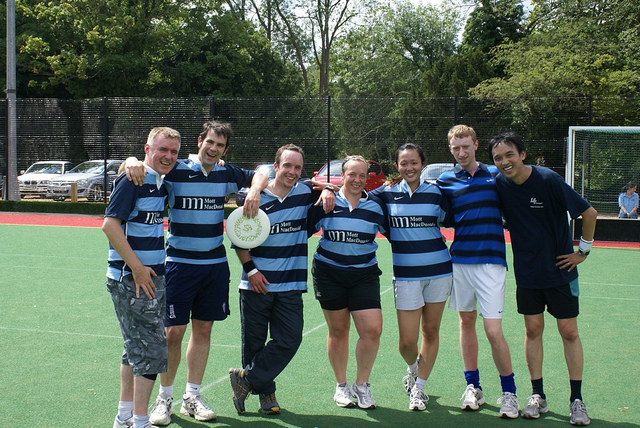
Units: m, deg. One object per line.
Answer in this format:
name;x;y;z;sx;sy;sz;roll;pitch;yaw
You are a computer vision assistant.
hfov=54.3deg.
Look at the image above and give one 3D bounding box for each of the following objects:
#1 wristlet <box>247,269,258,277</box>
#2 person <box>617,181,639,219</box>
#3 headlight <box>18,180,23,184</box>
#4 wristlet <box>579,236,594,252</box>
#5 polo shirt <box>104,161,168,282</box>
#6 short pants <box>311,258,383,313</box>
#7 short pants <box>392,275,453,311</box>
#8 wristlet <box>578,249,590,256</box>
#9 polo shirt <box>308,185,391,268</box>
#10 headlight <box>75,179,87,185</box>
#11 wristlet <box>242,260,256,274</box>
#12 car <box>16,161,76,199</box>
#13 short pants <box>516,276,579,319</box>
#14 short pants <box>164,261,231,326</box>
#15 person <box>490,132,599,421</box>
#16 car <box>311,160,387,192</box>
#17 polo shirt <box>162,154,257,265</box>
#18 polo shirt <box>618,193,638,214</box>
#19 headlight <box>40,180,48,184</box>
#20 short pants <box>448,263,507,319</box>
wristlet;-0.785;0.689;7.299;0.073;0.053;0.070;-30;-15;-23
person;9.222;-0.429;18.542;0.596;0.944;1.520;5;10;26
headlight;-12.529;-1.321;25.994;0.137;0.194;0.421;-2;10;-15
wristlet;3.182;0.368;7.468;0.146;0.129;0.126;0;12;-27
polo shirt;-2.012;0.065;6.866;0.626;1.224;0.457;-2;9;-14
short pants;0.385;0.861;7.718;0.861;0.743;0.613;-3;-11;28
short pants;1.245;0.950;7.500;0.688;0.480;0.373;-1;-3;-12
wristlet;3.159;0.461;7.445;0.083;0.040;0.093;7;2;-9
polo shirt;0.349;0.146;7.671;1.163;1.000;0.585;3;17;-7
headlight;-9.475;-1.263;24.732;0.331;0.195;0.118;-4;10;-26
wristlet;-0.828;0.632;7.324;0.139;0.105;0.138;-11;-13;7
car;-11.784;-1.493;26.689;1.391;1.000;2.252;0;1;3
short pants;2.761;0.846;7.540;0.769;0.666;0.437;-1;-5;24
short pants;-1.464;0.909;7.493;0.797;0.737;0.437;3;-5;-17
person;2.650;0.690;7.389;1.224;3.264;0.789;4;10;20
car;1.324;-1.351;22.513;2.414;1.151;1.495;7;-3;-34
polo shirt;-1.461;-0.061;7.526;1.609;1.251;0.502;2;9;-27
polo shirt;9.182;-0.346;18.491;0.514;0.560;0.484;5;10;26
headlight;-11.460;-1.315;25.840;0.418;0.168;0.056;5;10;26
short pants;1.953;0.865;7.646;0.737;0.715;0.425;4;8;40
